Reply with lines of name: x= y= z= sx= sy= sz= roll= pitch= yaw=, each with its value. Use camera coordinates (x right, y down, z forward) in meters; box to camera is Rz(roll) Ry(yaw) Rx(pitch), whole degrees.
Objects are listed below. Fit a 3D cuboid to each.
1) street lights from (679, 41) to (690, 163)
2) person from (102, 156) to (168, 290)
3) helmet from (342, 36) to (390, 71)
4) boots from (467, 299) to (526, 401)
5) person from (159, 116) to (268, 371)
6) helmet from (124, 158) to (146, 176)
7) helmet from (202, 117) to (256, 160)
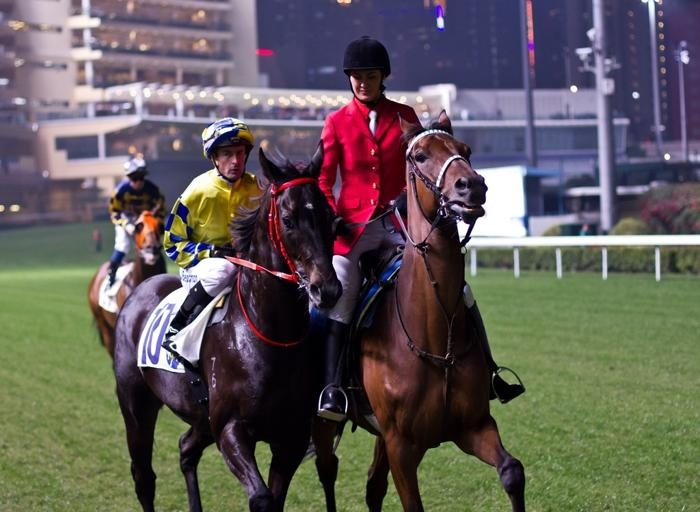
street lights: x=4.021 y=-1.872 z=13.216 sx=0.156 sy=1.388 sz=0.395 roll=0 pitch=3 yaw=17
person: x=-2.687 y=-0.466 z=13.636 sx=0.652 sy=1.543 sz=2.012 roll=0 pitch=14 yaw=-20
helmet: x=0.141 y=-1.815 z=9.925 sx=0.431 sy=0.336 sz=0.429 roll=-2 pitch=1 yaw=-5
boots: x=1.250 y=0.936 z=9.775 sx=0.336 sy=1.104 sz=0.141 roll=-22 pitch=10 yaw=-19
person: x=-1.171 y=-0.142 z=9.938 sx=1.030 sy=2.247 sz=1.071 roll=0 pitch=5 yaw=-21
helmet: x=-2.535 y=-1.053 z=12.949 sx=0.229 sy=0.231 sz=0.186 roll=3 pitch=4 yaw=10
helmet: x=-1.130 y=-1.044 z=9.991 sx=0.415 sy=0.479 sz=0.560 roll=-8 pitch=-4 yaw=-24
